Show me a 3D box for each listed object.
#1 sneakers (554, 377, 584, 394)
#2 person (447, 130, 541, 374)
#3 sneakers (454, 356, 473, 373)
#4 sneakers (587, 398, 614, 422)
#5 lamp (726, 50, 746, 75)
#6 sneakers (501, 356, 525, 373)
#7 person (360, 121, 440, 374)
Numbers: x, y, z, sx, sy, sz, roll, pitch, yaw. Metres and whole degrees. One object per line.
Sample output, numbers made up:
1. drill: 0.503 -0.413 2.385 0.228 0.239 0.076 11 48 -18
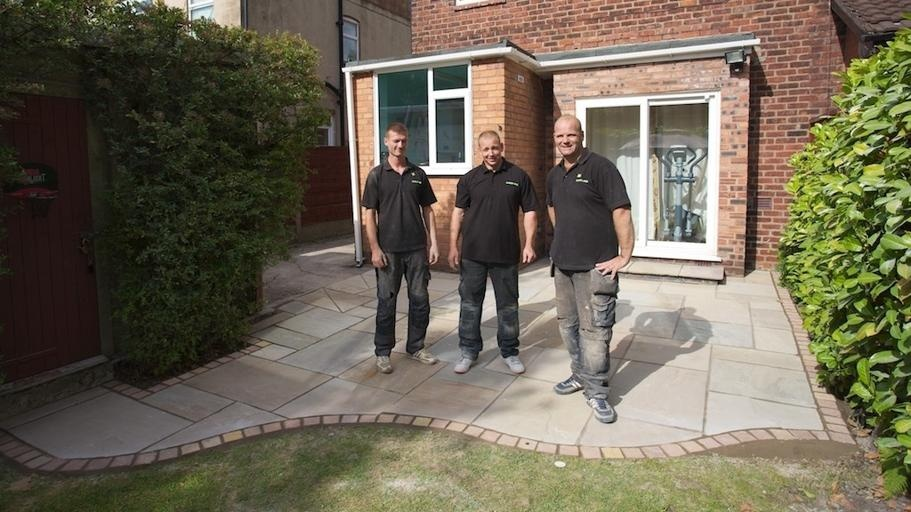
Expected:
1. sneakers: 1.355 1.559 6.918 0.363 0.135 0.150 -2 7 -6
2. person: 0.472 -0.029 7.272 1.092 3.026 0.597 1 12 2
3. sneakers: 0.101 1.401 7.351 0.119 0.119 0.345 1 0 20
4. sneakers: 1.666 1.722 6.499 0.314 0.236 0.275 2 12 4
5. lamp: 5.012 -3.474 10.262 0.353 0.453 0.256 4 40 35
6. sneakers: 0.754 1.393 7.392 0.137 0.126 0.325 -7 2 -19
7. person: -0.732 -0.103 7.391 0.861 3.107 0.644 -2 12 -10
